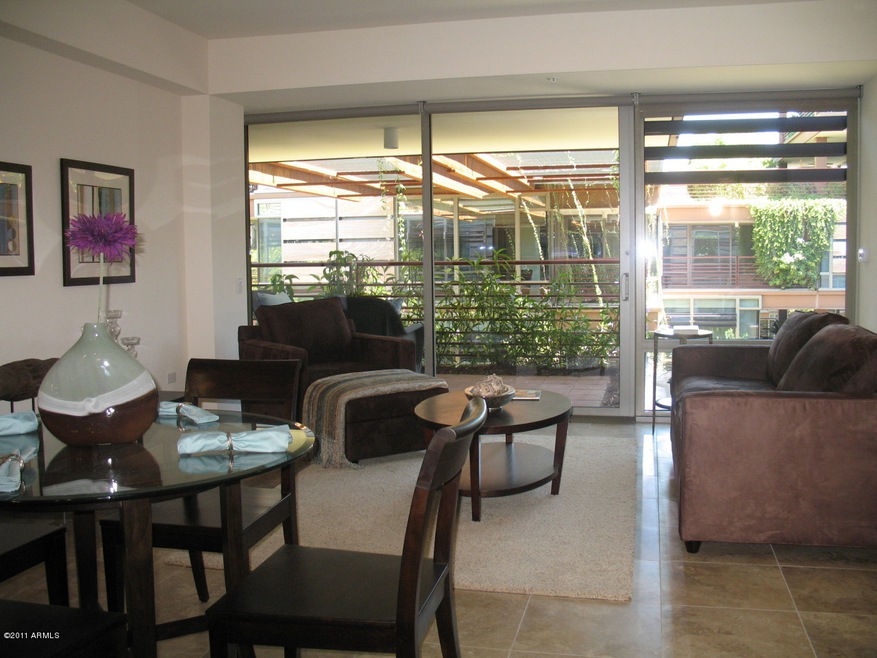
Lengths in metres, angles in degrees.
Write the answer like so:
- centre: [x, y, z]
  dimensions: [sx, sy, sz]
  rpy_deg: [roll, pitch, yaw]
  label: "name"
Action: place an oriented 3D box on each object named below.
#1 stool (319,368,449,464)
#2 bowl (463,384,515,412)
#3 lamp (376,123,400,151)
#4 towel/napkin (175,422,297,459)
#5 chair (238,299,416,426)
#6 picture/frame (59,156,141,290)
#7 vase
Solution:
- centre: [-0.434, 0.586, 5.090]
  dimensions: [1.058, 0.460, 0.957]
  rpy_deg: [-4, 6, -13]
  label: "stool"
- centre: [0.265, 0.353, 3.627]
  dimensions: [0.235, 0.088, 0.231]
  rpy_deg: [0, -2, 0]
  label: "bowl"
- centre: [-0.435, -1.642, 6.076]
  dimensions: [0.200, 0.216, 0.196]
  rpy_deg: [0, 1, -6]
  label: "lamp"
- centre: [-0.626, 0.351, 2.220]
  dimensions: [0.247, 0.065, 0.138]
  rpy_deg: [-1, 10, -8]
  label: "towel/napkin"
- centre: [-0.894, 0.248, 5.477]
  dimensions: [1.431, 0.827, 1.367]
  rpy_deg: [1, 8, 5]
  label: "chair"
- centre: [-2.361, -0.734, 4.917]
  dimensions: [0.759, 0.856, 0.041]
  rpy_deg: [8, 12, 28]
  label: "picture/frame"
- centre: [-1.120, 0.167, 2.342]
  dimensions: [0.384, 0.348, 0.369]
  rpy_deg: [-1, 17, -7]
  label: "vase"
